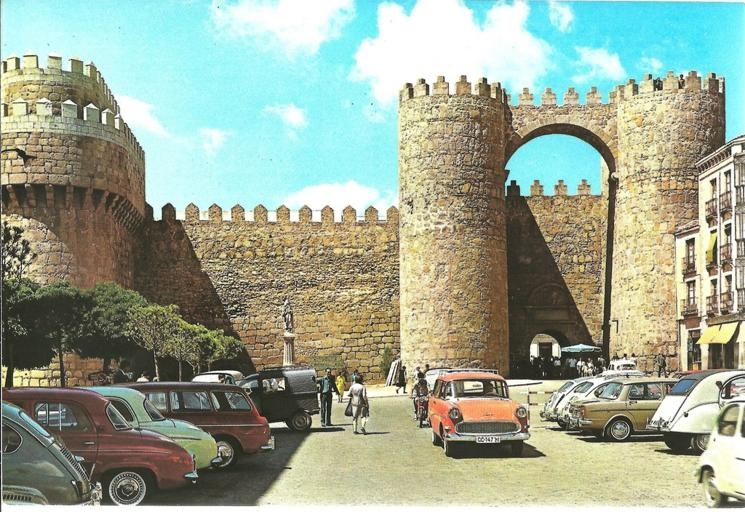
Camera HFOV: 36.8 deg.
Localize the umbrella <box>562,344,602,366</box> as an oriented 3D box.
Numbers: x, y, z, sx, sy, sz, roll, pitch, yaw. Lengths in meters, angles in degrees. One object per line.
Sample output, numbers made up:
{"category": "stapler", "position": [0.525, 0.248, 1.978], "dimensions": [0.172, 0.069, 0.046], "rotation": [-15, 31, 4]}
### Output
{"category": "umbrella", "position": [10.401, 4.774, 55.281], "dimensions": [1.486, 0.922, 1.387], "rotation": [0, -11, -1]}
